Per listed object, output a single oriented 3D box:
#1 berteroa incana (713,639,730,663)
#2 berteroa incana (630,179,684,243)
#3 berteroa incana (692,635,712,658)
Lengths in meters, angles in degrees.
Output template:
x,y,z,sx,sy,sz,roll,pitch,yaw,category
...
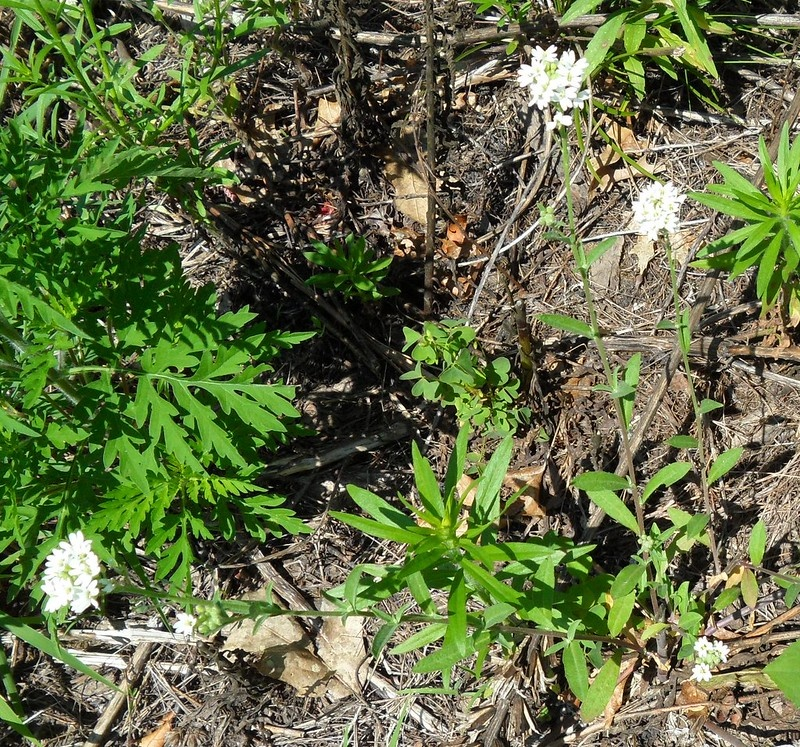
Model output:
x,y,z,sx,sy,sz,roll,pitch,yaw,category
1.185,1.023,2.694,0.051,0.149,0.059,-2,66,17,berteroa incana
0.906,-0.513,2.562,0.146,0.367,0.242,5,68,20,berteroa incana
1.111,0.983,2.659,0.085,0.021,0.071,5,98,17,berteroa incana
